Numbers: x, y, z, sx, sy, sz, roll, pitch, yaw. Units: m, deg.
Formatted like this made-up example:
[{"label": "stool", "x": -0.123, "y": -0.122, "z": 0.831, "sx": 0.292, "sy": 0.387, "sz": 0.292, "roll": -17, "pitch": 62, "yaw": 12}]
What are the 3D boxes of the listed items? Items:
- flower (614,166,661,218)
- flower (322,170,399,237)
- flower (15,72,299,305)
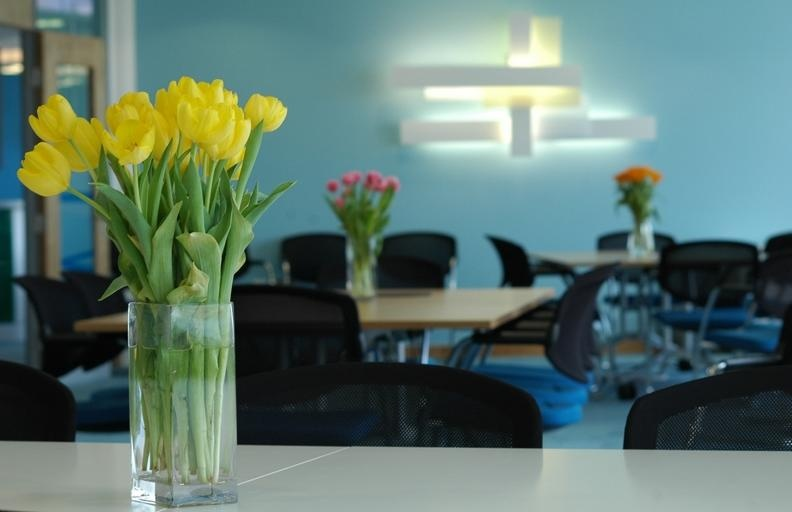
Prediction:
[{"label": "flower", "x": 0.747, "y": -0.184, "z": 2.260, "sx": 0.156, "sy": 0.179, "sz": 0.162, "roll": 0, "pitch": -4, "yaw": 0}, {"label": "flower", "x": -0.122, "y": -0.142, "z": 2.380, "sx": 0.239, "sy": 0.244, "sz": 0.205, "roll": 0, "pitch": -1, "yaw": -6}, {"label": "flower", "x": -0.309, "y": -0.053, "z": 1.160, "sx": 0.309, "sy": 0.399, "sz": 0.379, "roll": -7, "pitch": 4, "yaw": 39}]
